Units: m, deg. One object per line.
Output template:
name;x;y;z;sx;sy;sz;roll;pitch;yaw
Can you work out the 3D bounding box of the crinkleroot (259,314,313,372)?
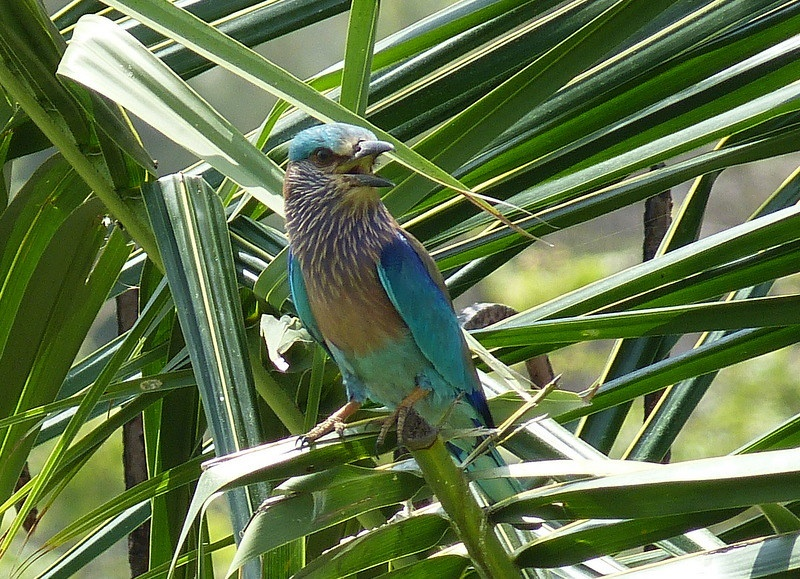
crinkleroot;-0.310;0.161;3.757;0.158;0.114;0.156;9;-73;31
